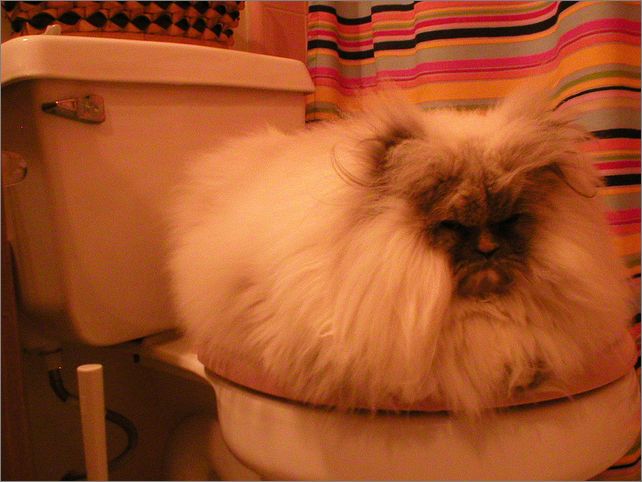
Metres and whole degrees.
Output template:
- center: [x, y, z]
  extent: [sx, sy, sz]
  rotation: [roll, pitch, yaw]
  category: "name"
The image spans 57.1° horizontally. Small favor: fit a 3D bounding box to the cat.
- center: [0.103, 0.036, 0.988]
  extent: [0.513, 0.277, 0.665]
  rotation: [-7, 9, -30]
  category: "cat"
